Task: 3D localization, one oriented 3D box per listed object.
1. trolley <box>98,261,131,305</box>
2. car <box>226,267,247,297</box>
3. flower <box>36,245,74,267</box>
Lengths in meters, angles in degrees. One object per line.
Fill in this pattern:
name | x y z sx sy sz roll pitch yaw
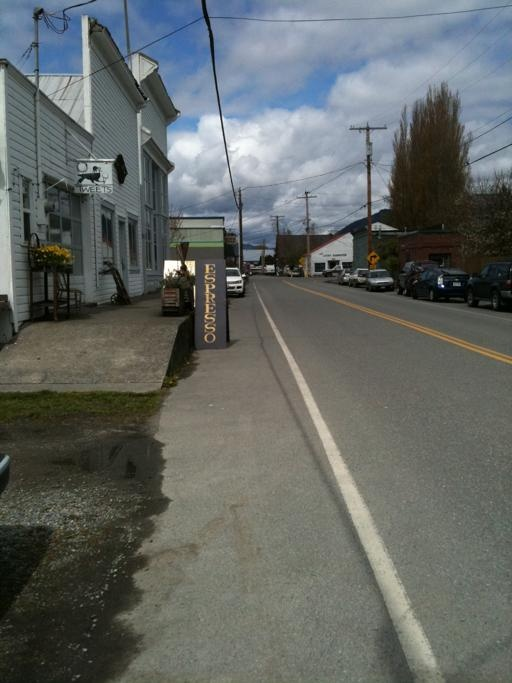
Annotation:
trolley | -4.861 -2.015 19.114 0.537 2.112 0.671 -21 10 -42
car | -1.360 -3.962 35.973 1.289 1.559 3.200 0 2 0
flower | -4.557 -1.876 12.224 0.479 0.542 0.881 3 15 8
